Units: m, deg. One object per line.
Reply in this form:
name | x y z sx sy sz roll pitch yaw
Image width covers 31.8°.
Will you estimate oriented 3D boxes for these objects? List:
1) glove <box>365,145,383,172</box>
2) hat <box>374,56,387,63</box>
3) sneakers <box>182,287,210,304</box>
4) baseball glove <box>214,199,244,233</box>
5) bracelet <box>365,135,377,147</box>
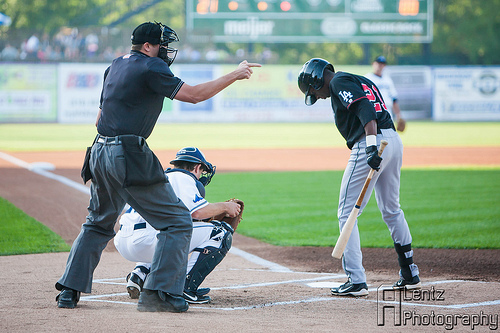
glove | 2.377 -0.170 16.728 0.372 0.418 0.182 -5 8 20
hat | 3.343 -2.718 22.132 0.315 0.201 0.327 0 5 8
sneakers | -1.032 2.469 16.732 0.648 0.244 0.210 3 13 -20
baseball glove | -0.344 1.017 17.235 0.533 0.652 0.294 17 -14 30
bracelet | 2.332 -0.496 16.743 0.229 0.202 0.207 -2 -1 -17
